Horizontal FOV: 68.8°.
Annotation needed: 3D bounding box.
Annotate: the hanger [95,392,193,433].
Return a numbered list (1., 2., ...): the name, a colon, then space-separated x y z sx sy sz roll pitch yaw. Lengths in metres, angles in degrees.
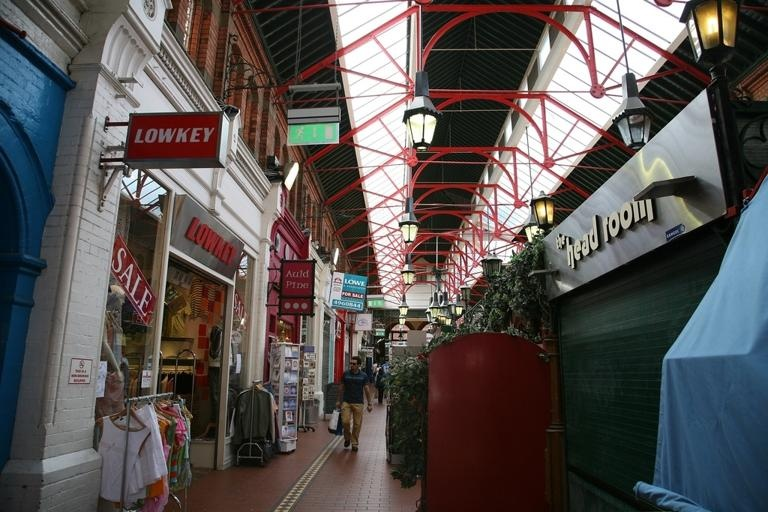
1. hanger: -3.058 1.919 7.071 0.824 0.391 1.192 -8 -17 21

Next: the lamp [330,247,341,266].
1. lamp: -2.239 0.009 25.640 0.223 0.913 0.915 8 5 7

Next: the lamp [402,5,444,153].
1. lamp: 0.447 -1.890 6.918 0.451 1.169 0.483 -3 -15 6

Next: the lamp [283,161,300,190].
1. lamp: -2.249 -1.922 13.457 0.320 0.675 0.714 2 -16 -11

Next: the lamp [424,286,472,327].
1. lamp: 2.191 1.773 20.057 1.293 0.752 1.628 0 -19 -4

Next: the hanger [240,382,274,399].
1. hanger: -2.589 2.719 11.437 0.617 0.341 1.108 1 -17 -10
